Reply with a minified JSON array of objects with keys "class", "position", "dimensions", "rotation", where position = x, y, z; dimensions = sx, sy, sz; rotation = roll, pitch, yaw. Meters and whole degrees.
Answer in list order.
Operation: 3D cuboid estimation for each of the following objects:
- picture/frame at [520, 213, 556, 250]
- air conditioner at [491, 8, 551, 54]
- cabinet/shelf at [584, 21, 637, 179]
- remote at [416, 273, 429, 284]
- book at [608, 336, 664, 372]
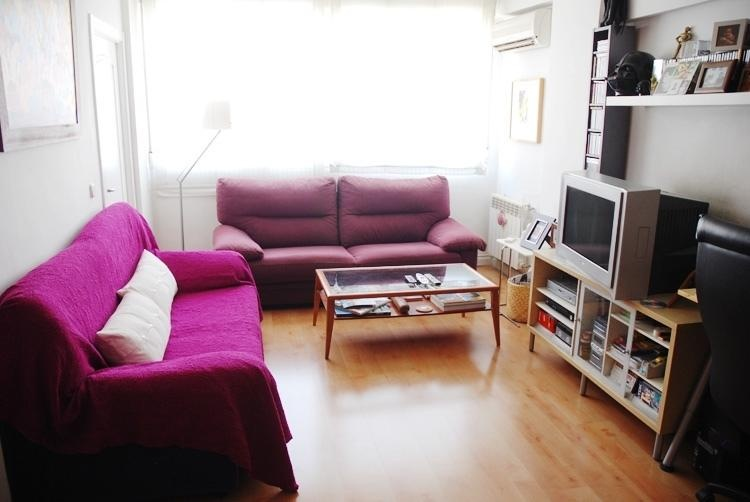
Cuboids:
[{"class":"picture/frame","position":[1.395,-0.166,4.399],"dimensions":[0.081,0.306,0.284],"rotation":[31,-3,-39]},{"class":"air conditioner","position":[1.480,-2.208,5.124],"dimensions":[0.284,0.352,0.810],"rotation":[-4,18,-11]},{"class":"cabinet/shelf","position":[1.752,-1.094,3.815],"dimensions":[0.337,1.089,0.373],"rotation":[6,20,18]},{"class":"remote","position":[0.392,0.234,4.223],"dimensions":[0.060,0.023,0.171],"rotation":[-2,19,-5]},{"class":"book","position":[1.660,0.636,3.154],"dimensions":[0.208,0.063,0.204],"rotation":[-10,22,-32]}]
